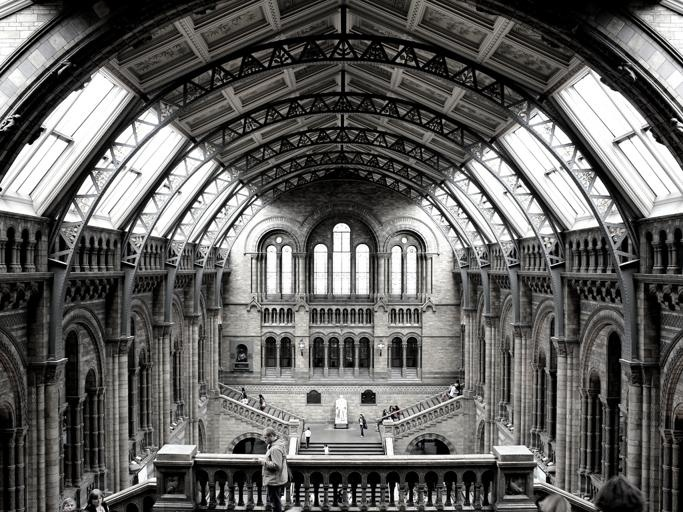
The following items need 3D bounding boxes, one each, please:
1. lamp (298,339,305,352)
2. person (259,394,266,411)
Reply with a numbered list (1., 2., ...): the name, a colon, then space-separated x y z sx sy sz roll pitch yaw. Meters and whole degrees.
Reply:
1. lamp: -2.612 5.998 53.236 0.387 0.923 0.331 -1 -12 8
2. person: -5.049 9.397 50.971 0.412 1.016 1.154 3 -13 -7
